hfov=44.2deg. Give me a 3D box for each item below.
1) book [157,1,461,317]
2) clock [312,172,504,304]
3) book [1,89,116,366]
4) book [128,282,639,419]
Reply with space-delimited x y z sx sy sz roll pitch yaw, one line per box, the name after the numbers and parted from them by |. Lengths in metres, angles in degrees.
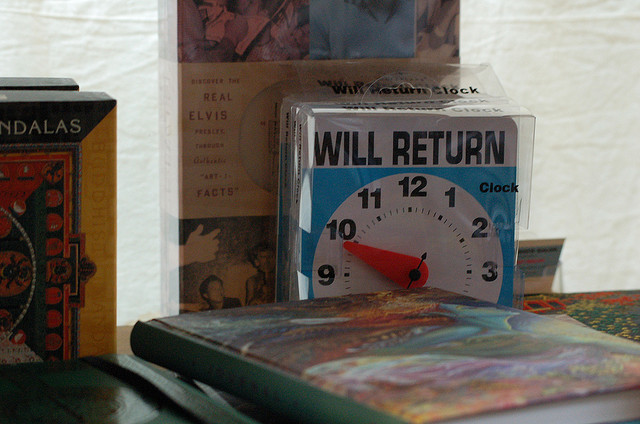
-0.026 -0.056 0.970 0.421 0.555 0.060 -1 7 -15 | book
0.091 0.026 0.922 0.153 0.147 0.014 3 4 -7 | clock
-0.297 0.014 0.898 0.128 0.305 0.039 -2 3 -17 | book
0.062 0.140 0.792 0.488 0.094 0.257 -2 3 -14 | book
